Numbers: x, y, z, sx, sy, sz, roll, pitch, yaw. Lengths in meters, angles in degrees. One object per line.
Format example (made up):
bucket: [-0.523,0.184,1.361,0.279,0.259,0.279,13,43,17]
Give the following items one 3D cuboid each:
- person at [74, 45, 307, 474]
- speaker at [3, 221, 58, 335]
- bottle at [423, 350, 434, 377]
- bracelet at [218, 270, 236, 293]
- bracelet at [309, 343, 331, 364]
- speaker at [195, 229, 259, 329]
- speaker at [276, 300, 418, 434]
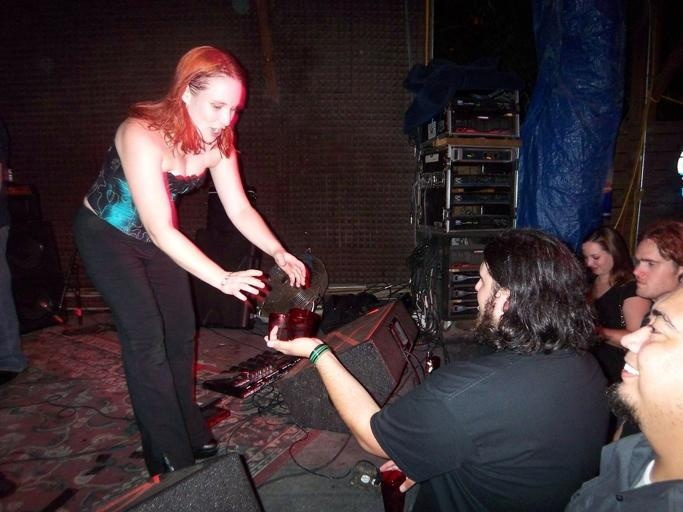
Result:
person: [-0.826,0.076,2.750,1.367,2.248,0.924,11,13,28]
speaker: [-3.007,0.200,4.859,0.277,0.862,0.666,2,10,15]
bottle: [0.647,0.788,3.618,0.063,0.172,0.128,6,-1,2]
bracelet: [-0.550,0.120,2.375,0.035,0.095,0.076,7,-10,9]
bracelet: [-0.115,0.445,2.328,0.097,0.093,0.041,-14,54,-48]
speaker: [-1.206,0.227,4.962,1.004,0.869,0.247,5,7,27]
speaker: [-0.008,0.569,3.213,0.811,0.613,1.025,3,9,30]
